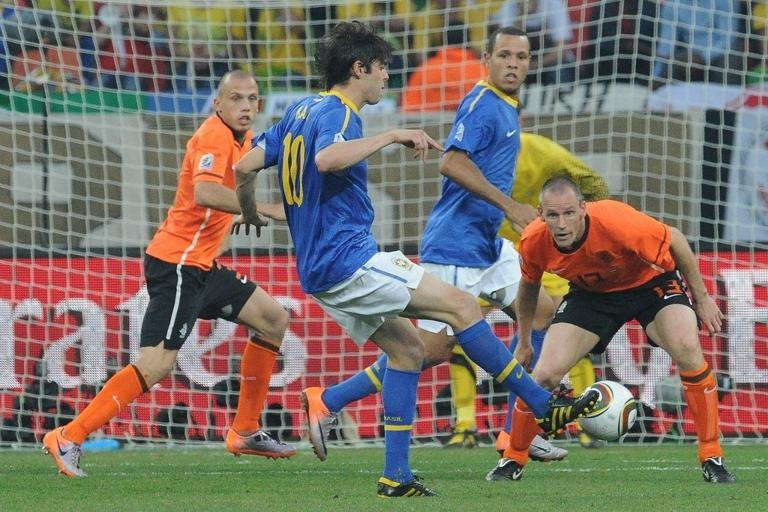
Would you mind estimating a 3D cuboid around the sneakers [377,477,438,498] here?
[{"bbox_3d":[0.163,1.712,9.343,0.455,0.153,0.147,3,-6,-6],"label":"sneakers"}]

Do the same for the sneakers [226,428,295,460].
[{"bbox_3d":[-1.048,1.582,10.594,0.663,0.269,0.229,4,-6,-8],"label":"sneakers"}]

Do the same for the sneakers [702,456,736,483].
[{"bbox_3d":[2.612,1.659,9.755,0.118,0.143,0.349,1,1,45],"label":"sneakers"}]

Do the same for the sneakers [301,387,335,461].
[{"bbox_3d":[-0.521,1.326,10.063,0.283,0.597,0.221,-13,-8,6],"label":"sneakers"}]
